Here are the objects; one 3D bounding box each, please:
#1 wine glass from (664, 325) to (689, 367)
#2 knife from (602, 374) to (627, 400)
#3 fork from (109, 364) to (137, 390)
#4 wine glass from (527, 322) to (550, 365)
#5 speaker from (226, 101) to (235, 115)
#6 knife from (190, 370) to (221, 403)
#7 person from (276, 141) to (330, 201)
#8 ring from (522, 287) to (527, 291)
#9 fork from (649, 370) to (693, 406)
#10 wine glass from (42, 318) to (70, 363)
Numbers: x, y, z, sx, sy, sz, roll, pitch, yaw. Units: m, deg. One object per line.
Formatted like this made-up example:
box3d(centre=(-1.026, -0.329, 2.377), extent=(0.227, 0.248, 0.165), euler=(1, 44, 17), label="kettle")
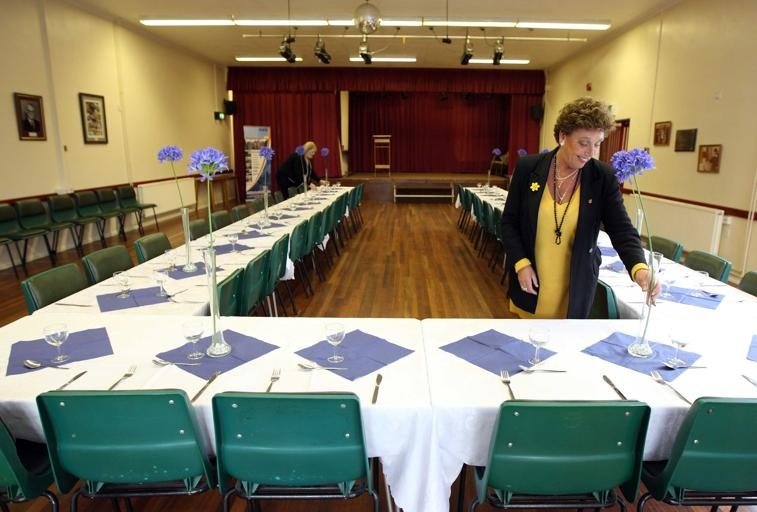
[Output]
box3d(centre=(1.718, 0.525, 2.842), extent=(0.105, 0.274, 0.111), euler=(11, 18, 43), label="wine glass")
box3d(centre=(1.229, 0.682, 2.572), extent=(0.032, 0.012, 0.141), euler=(-37, 28, 7), label="knife")
box3d(centre=(-1.362, 0.644, 2.638), extent=(0.030, 0.026, 0.216), euler=(12, 30, 7), label="fork")
box3d(centre=(0.902, 0.504, 2.782), extent=(0.119, 0.251, 0.136), euler=(5, 21, 19), label="wine glass")
box3d(centre=(-4.167, -4.130, 13.810), extent=(0.326, 0.337, 0.150), euler=(2, 15, 9), label="speaker")
box3d(centre=(-0.908, 0.679, 2.590), extent=(0.033, 0.013, 0.276), euler=(20, 20, 6), label="knife")
box3d(centre=(-1.581, -1.443, 9.674), extent=(0.835, 1.602, 0.640), euler=(11, 18, 5), label="person")
box3d(centre=(0.939, 0.211, 3.183), extent=(0.023, 0.023, 0.006), euler=(-1, 63, 2), label="ring")
box3d(centre=(1.509, 0.662, 2.621), extent=(0.046, 0.046, 0.358), euler=(-3, 22, -12), label="fork")
box3d(centre=(-1.846, 0.494, 2.812), extent=(0.134, 0.238, 0.131), euler=(2, 24, -3), label="wine glass")
